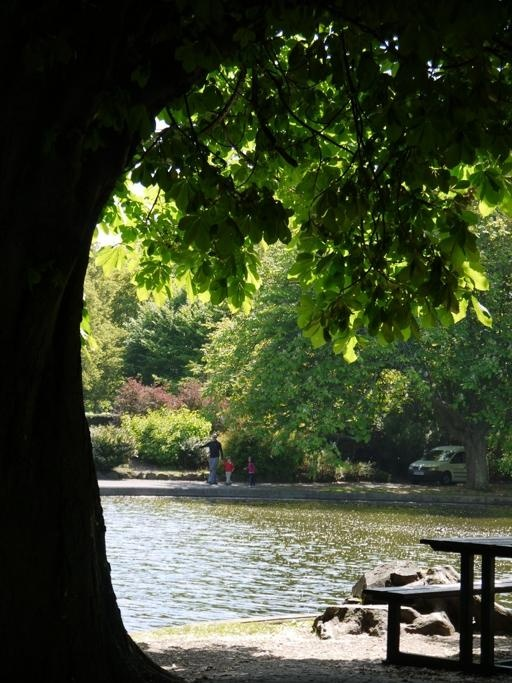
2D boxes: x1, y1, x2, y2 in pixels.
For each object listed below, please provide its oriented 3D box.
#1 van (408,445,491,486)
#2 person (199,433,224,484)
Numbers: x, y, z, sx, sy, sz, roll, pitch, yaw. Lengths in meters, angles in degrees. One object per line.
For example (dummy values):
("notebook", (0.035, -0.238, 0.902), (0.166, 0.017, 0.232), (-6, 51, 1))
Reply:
("van", (6.437, 4.289, 35.860), (2.109, 0.901, 1.128), (9, -12, -42))
("person", (-1.435, 3.819, 33.260), (0.558, 0.544, 1.511), (8, 34, 0))
